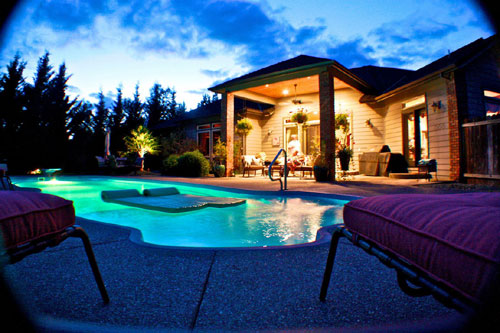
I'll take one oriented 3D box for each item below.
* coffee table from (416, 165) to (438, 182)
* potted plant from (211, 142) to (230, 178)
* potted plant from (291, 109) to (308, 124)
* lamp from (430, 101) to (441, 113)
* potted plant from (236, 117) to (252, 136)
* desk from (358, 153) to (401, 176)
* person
[{"bbox_3d":[5.302,0.107,9.832,0.499,0.607,1.306,7,14,28],"label":"coffee table"},{"bbox_3d":[-1.283,-0.318,13.259,0.766,1.330,0.795,-2,-4,20],"label":"potted plant"},{"bbox_3d":[1.823,-1.797,12.060,0.620,0.543,0.601,-12,16,-36],"label":"potted plant"},{"bbox_3d":[5.542,-1.790,9.817,0.323,0.418,0.219,3,-1,0],"label":"lamp"},{"bbox_3d":[-0.288,-1.622,13.621,0.540,0.720,0.609,-4,14,-16],"label":"potted plant"},{"bbox_3d":[4.817,-0.049,12.300,0.871,0.840,1.426,7,0,-25],"label":"desk"},{"bbox_3d":[1.519,-0.477,12.520,1.181,1.194,2.003,4,12,29],"label":"person"}]
